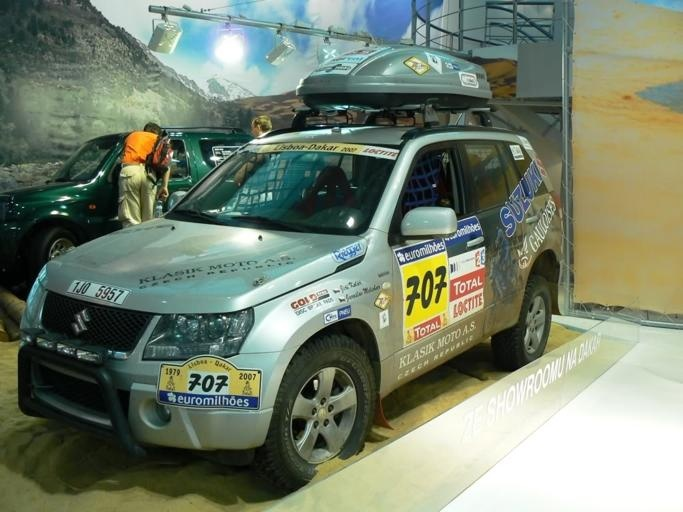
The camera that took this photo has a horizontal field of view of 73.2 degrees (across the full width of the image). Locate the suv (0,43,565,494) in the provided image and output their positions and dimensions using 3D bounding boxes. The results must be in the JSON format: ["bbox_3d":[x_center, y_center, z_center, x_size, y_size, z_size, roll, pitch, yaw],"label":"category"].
[{"bbox_3d":[-0.099,-0.397,4.119,2.748,2.564,4.457,5,8,41],"label":"suv"}]
